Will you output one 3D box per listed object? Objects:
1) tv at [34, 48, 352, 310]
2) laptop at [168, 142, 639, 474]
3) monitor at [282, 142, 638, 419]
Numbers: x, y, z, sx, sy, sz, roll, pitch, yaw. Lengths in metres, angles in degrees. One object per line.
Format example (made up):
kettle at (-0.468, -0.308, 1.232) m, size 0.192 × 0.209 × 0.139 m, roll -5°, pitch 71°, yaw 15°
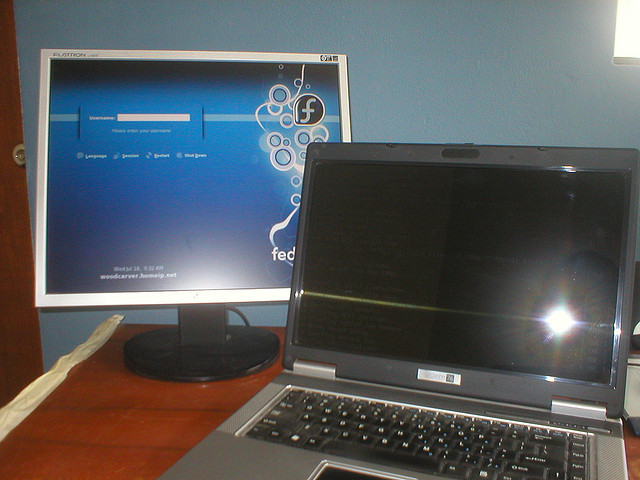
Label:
tv at (-0.261, -0.112, 1.054) m, size 0.584 × 0.428 × 0.044 m, roll 0°, pitch -1°, yaw -3°
laptop at (0.259, 0.099, 0.999) m, size 0.625 × 0.567 × 0.390 m, roll 5°, pitch 4°, yaw 17°
monitor at (0.252, 0.078, 0.923) m, size 0.467 × 0.281 × 0.173 m, roll 5°, pitch 18°, yaw 19°
